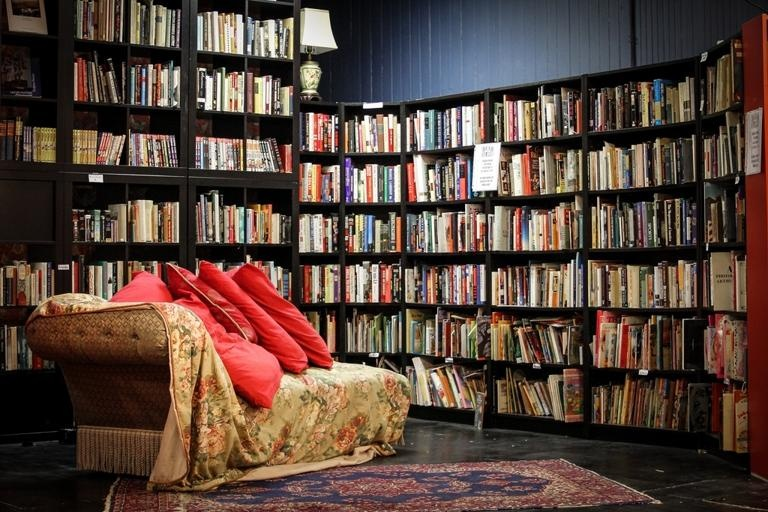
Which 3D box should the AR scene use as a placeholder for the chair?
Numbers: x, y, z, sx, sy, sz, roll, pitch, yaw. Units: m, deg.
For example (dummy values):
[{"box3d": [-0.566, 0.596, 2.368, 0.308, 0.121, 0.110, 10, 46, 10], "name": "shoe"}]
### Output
[{"box3d": [-0.998, 0.802, 5.404, 1.220, 0.968, 1.917, 1, 1, 42], "name": "chair"}]
